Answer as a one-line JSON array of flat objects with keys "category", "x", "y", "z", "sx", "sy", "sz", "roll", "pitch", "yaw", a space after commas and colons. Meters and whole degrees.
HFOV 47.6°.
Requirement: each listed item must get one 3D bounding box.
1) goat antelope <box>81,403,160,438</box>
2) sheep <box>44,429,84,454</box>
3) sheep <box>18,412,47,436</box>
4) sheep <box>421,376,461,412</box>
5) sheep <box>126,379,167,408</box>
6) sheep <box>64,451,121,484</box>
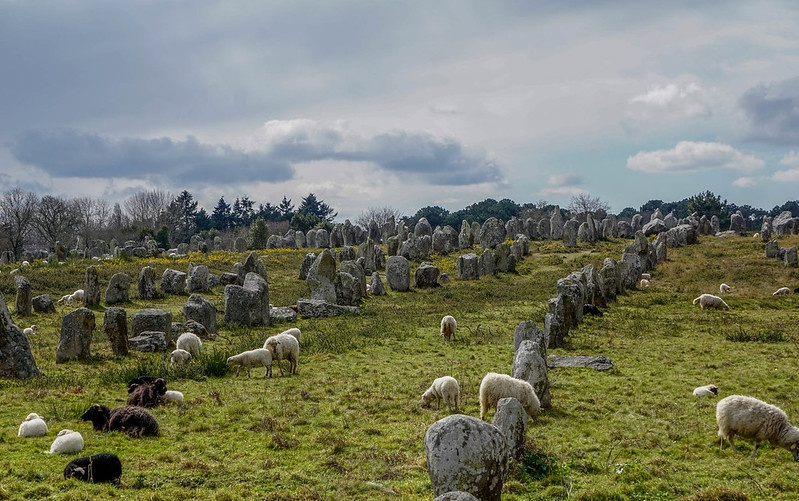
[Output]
[{"category": "goat antelope", "x": -11.238, "y": 6.851, "z": 36.742, "sx": 2.785, "sy": 1.290, "sz": 1.363, "roll": 7, "pitch": -31, "yaw": 9}, {"category": "sheep", "x": -13.108, "y": 7.395, "z": 35.352, "sx": 1.216, "sy": 0.935, "sz": 0.734, "roll": -13, "pitch": 14, "yaw": -16}, {"category": "sheep", "x": -14.597, "y": 6.928, "z": 35.908, "sx": 1.102, "sy": 0.855, "sz": 0.549, "roll": 0, "pitch": 0, "yaw": -18}, {"category": "sheep", "x": 1.801, "y": 6.017, "z": 38.351, "sx": 0.835, "sy": 1.414, "sz": 1.449, "roll": 0, "pitch": 0, "yaw": -43}, {"category": "sheep", "x": -10.644, "y": 5.946, "z": 38.160, "sx": 1.689, "sy": 1.126, "sz": 0.957, "roll": 0, "pitch": 0, "yaw": 1}, {"category": "sheep", "x": -11.621, "y": 8.254, "z": 34.211, "sx": 1.456, "sy": 0.991, "sz": 1.239, "roll": 5, "pitch": -20, "yaw": 2}]
